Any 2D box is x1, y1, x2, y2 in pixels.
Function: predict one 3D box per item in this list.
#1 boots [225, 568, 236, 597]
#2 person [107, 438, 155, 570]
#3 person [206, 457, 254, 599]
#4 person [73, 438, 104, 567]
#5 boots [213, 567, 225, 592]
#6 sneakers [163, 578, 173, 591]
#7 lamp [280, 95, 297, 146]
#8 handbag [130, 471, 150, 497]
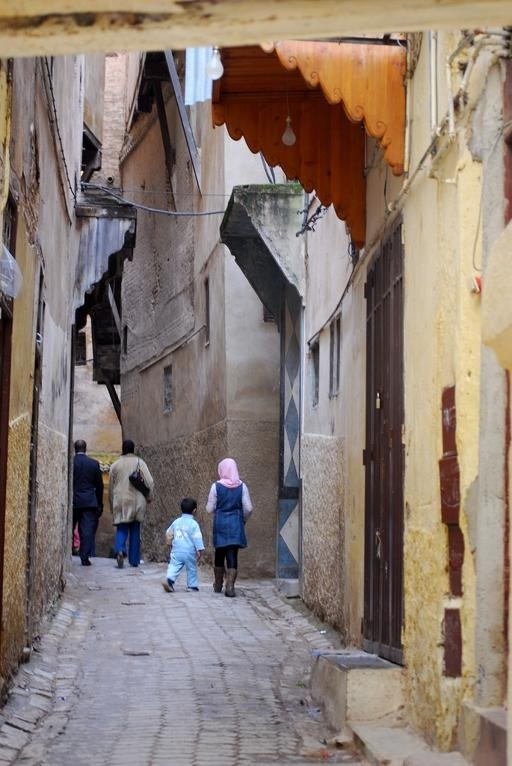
[{"bbox_3d":[-0.241,1.860,10.285,0.094,0.255,0.277,-2,-4,-2],"label":"boots"},{"bbox_3d":[-1.467,1.422,13.134,0.473,1.478,1.546,-1,-4,-7],"label":"person"},{"bbox_3d":[-0.257,1.369,10.489,0.402,1.276,0.636,-2,-3,-1],"label":"person"},{"bbox_3d":[-2.043,1.276,13.052,0.328,1.643,0.404,2,29,-9],"label":"person"},{"bbox_3d":[-0.354,1.875,10.590,0.071,0.275,0.204,1,-3,-1],"label":"boots"},{"bbox_3d":[-0.806,1.874,10.214,0.044,0.096,0.182,0,-27,5],"label":"sneakers"},{"bbox_3d":[0.188,-1.539,6.593,0.090,0.297,0.287,-2,-3,2],"label":"lamp"},{"bbox_3d":[-1.316,1.155,12.576,0.240,0.311,0.184,-4,-3,22],"label":"handbag"}]
